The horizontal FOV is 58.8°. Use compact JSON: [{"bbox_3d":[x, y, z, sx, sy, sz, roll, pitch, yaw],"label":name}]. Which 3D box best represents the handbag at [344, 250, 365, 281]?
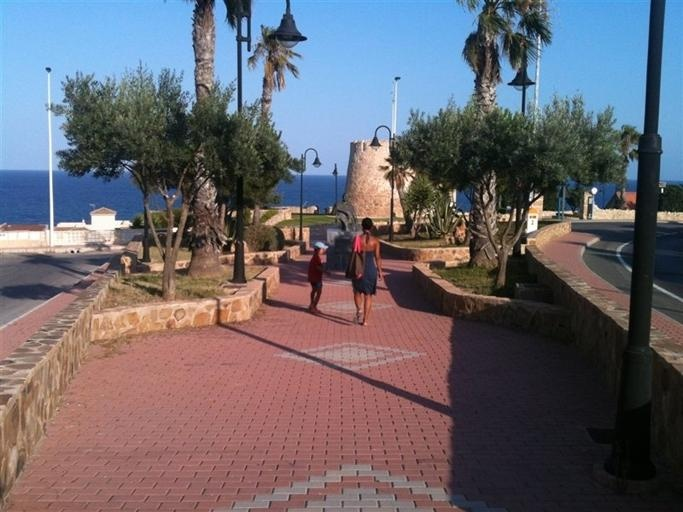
[{"bbox_3d":[0.300,0.142,12.189,0.451,0.858,0.317,1,9,9],"label":"handbag"}]
